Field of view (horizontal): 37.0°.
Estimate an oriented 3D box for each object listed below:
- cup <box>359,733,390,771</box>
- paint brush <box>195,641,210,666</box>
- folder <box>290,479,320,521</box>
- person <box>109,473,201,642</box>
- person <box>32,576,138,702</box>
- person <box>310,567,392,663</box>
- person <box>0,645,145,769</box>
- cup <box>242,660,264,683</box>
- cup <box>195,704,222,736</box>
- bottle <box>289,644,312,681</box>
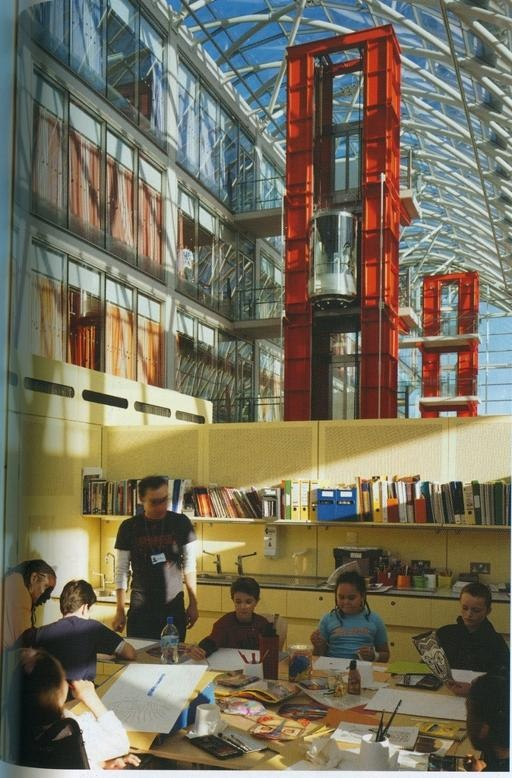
[{"bbox_3d":[0.456,1.407,2.976,0.101,0.111,0.108,2,-5,0],"label":"cup"},{"bbox_3d":[-0.301,1.440,4.193,0.077,0.084,0.147,-14,-35,-17],"label":"paint brush"},{"bbox_3d":[0.363,0.881,6.027,0.255,0.401,0.270,0,-6,9],"label":"folder"},{"bbox_3d":[-0.821,1.663,6.178,0.623,2.037,0.360,-1,15,-7],"label":"person"},{"bbox_3d":[-1.011,1.440,4.451,0.537,0.748,0.405,-2,-1,8],"label":"person"},{"bbox_3d":[0.613,1.632,4.989,0.473,0.864,0.439,1,-8,9],"label":"person"},{"bbox_3d":[-0.902,1.579,3.792,0.395,0.532,0.939,11,-27,8],"label":"person"},{"bbox_3d":[-0.020,1.399,3.762,0.068,0.059,0.073,0,-5,0],"label":"cup"},{"bbox_3d":[-0.198,1.338,3.085,0.074,0.091,0.126,-2,-8,5],"label":"cup"},{"bbox_3d":[0.214,1.325,3.748,0.148,0.211,0.139,1,-4,0],"label":"bottle"}]
